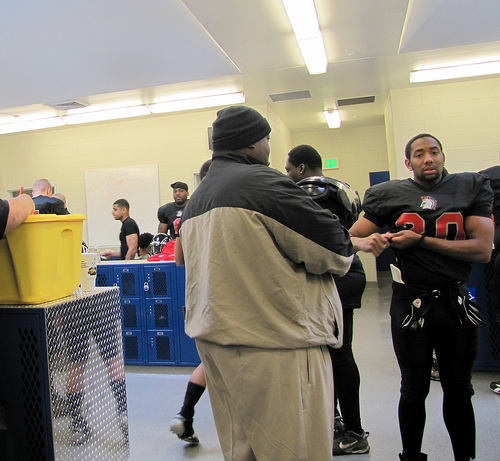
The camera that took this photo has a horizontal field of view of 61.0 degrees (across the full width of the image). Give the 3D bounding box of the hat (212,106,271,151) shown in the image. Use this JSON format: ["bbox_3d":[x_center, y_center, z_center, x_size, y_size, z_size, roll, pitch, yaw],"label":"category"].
[{"bbox_3d":[-0.025,-0.366,1.667,0.187,0.138,0.178,-2,2,-37],"label":"hat"}]

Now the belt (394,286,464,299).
[{"bbox_3d":[0.834,0.291,1.996,0.298,0.067,0.084,-4,0,33],"label":"belt"}]

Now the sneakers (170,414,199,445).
[{"bbox_3d":[-0.406,1.250,2.643,0.110,0.213,0.070,-41,27,-5],"label":"sneakers"}]

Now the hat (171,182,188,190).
[{"bbox_3d":[-0.932,-0.598,5.710,0.219,0.114,0.267,2,-2,-5],"label":"hat"}]

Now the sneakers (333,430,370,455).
[{"bbox_3d":[0.582,1.222,2.423,0.254,0.126,0.101,3,-2,-3],"label":"sneakers"}]

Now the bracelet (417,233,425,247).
[{"bbox_3d":[0.798,0.042,1.965,0.025,0.049,0.034,18,-11,-2],"label":"bracelet"}]
